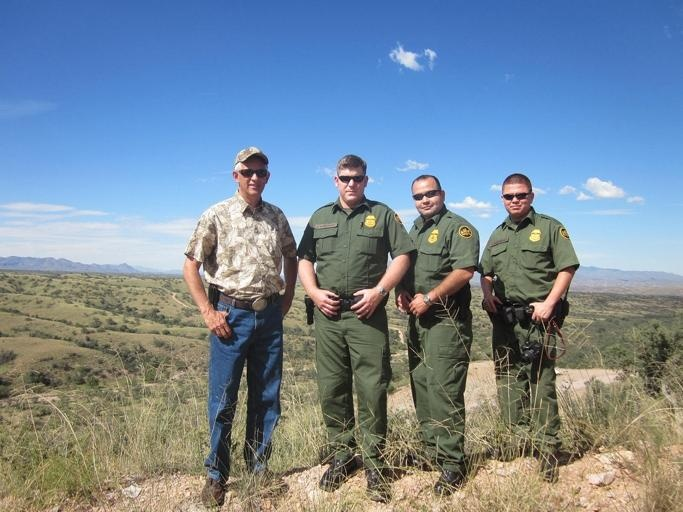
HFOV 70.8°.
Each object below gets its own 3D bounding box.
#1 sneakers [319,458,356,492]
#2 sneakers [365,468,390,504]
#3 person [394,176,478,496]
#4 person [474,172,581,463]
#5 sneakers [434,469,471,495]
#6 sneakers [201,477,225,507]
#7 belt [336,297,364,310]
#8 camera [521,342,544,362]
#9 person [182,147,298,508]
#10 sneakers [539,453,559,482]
[{"bbox_3d":[-0.011,2.324,5.194,0.171,0.205,0.481,2,7,44],"label":"sneakers"},{"bbox_3d":[0.374,2.364,4.892,0.240,0.290,0.457,-2,-5,1],"label":"sneakers"},{"bbox_3d":[1.073,0.739,5.362,0.907,3.443,0.740,-4,-5,25],"label":"person"},{"bbox_3d":[2.155,0.623,5.594,1.077,3.210,0.613,-4,-5,28],"label":"person"},{"bbox_3d":[1.130,2.342,4.978,0.146,0.165,0.415,-15,-16,39],"label":"sneakers"},{"bbox_3d":[-1.319,2.447,4.972,0.242,0.254,0.208,-1,-5,-15],"label":"sneakers"},{"bbox_3d":[0.104,0.518,5.228,0.258,0.179,0.091,-3,-5,10],"label":"belt"},{"bbox_3d":[2.085,1.071,5.393,0.203,0.212,0.214,-9,-17,-7],"label":"camera"},{"bbox_3d":[-1.101,0.704,5.305,1.174,3.759,0.491,-1,-5,-10],"label":"person"},{"bbox_3d":[2.163,2.207,5.032,0.240,0.129,0.335,3,37,20],"label":"sneakers"}]
